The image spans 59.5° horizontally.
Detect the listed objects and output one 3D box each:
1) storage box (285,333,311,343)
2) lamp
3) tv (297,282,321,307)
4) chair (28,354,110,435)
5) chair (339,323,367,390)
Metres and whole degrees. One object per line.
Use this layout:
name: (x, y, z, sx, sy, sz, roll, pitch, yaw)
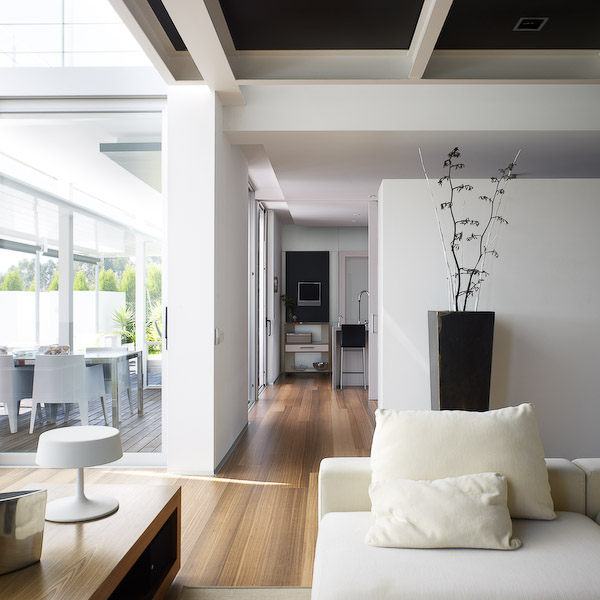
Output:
storage box: (-0.047, 0.713, 9.795, 0.492, 0.228, 0.250, -1, -3, 3)
lamp: (-0.906, 0.708, 2.157, 0.274, 0.351, 0.321, 0, 3, -4)
tv: (0.171, -0.090, 9.818, 0.346, 0.433, 0.039, 0, -3, 3)
chair: (-1.783, 0.711, 4.287, 0.528, 0.750, 0.556, 0, -1, 2)
chair: (0.805, 0.876, 8.132, 0.436, 0.979, 0.454, -1, -2, 4)
